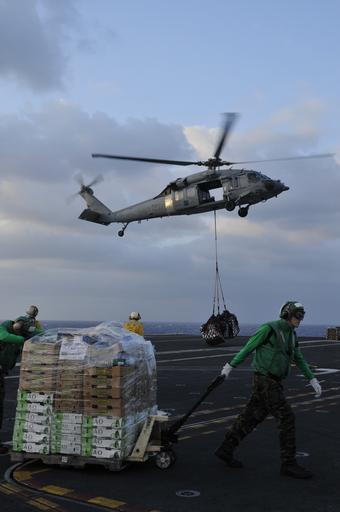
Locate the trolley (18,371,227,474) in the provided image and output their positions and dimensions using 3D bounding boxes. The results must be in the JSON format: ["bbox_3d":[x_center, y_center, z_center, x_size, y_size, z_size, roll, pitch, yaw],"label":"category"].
[{"bbox_3d":[0.112,2.150,5.357,3.412,1.471,0.961,-1,-5,8],"label":"trolley"}]

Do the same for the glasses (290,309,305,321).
[{"bbox_3d":[1.439,0.695,4.786,0.151,0.172,0.139,-1,-7,13],"label":"glasses"}]
